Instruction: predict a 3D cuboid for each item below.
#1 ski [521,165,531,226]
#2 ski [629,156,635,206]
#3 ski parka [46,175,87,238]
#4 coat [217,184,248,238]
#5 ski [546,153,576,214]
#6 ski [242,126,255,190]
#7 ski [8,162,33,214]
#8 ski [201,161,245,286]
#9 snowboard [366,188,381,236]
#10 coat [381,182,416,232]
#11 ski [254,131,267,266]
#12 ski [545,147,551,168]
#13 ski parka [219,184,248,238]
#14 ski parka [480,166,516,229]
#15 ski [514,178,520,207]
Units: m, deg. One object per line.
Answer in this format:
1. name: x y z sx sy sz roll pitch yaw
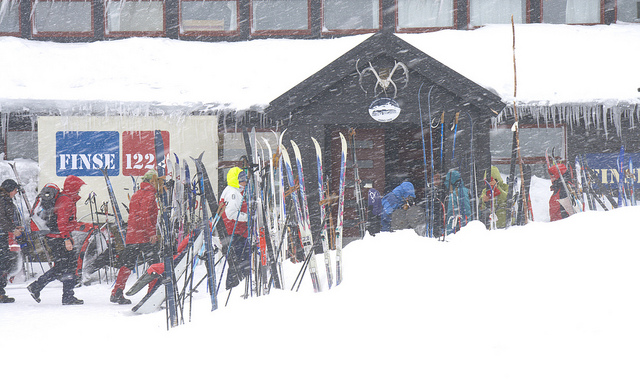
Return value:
1. ski: 4.130 0.010 21.225 0.170 1.282 0.170 3 -4 34
2. ski: 6.328 -0.277 21.507 0.079 0.853 0.100 -4 -2 -28
3. ski parka: -4.570 0.234 19.130 0.468 1.093 0.601 1 3 14
4. coat: -1.523 0.346 18.537 0.585 0.729 0.735 -12 25 -14
5. ski: 4.846 -0.167 21.295 0.107 1.329 0.214 -30 -7 14
6. ski: -1.214 -0.603 17.829 0.142 1.043 0.124 -10 7 -2
7. ski: -5.798 -0.074 20.483 0.159 1.063 0.168 -22 4 -30
8. ski: -1.696 0.620 18.487 0.287 2.389 0.183 -20 3 22
9. snowboard: 1.075 0.370 21.419 0.287 0.911 0.529 0 3 1
10. coat: 1.538 0.269 21.222 0.645 0.966 0.222 0 3 -2
11. ski: -0.992 0.312 17.825 0.149 1.748 0.157 -8 -11 40
12. ski: 4.612 -0.696 21.564 0.069 0.331 0.045 9 -42 -14
13. ski parka: -1.513 0.349 18.548 0.561 0.814 0.792 -7 18 -14
14. ski parka: 3.446 0.263 20.994 0.647 1.466 0.499 -3 11 -4
15. ski: 3.937 -0.067 21.282 0.128 0.472 0.084 -6 -13 40
